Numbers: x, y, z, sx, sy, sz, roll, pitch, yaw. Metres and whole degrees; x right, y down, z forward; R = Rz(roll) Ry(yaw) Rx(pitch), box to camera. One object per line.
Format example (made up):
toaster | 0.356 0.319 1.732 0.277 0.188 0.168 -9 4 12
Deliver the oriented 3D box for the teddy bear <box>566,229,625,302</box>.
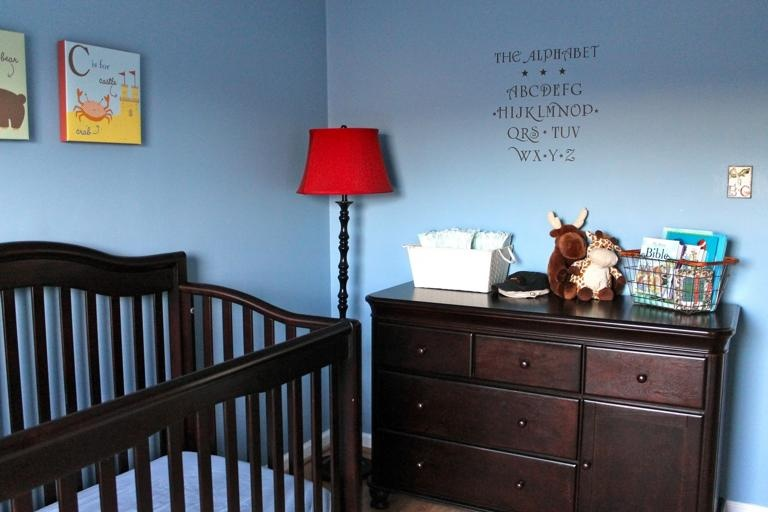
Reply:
teddy bear | 0.976 0.042 2.812 0.250 0.323 0.219 8 4 4

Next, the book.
book | 1.249 0.074 2.695 0.329 0.420 0.461 0 1 -28

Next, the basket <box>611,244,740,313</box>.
basket | 1.266 0.115 2.642 0.470 0.247 0.330 3 1 31
